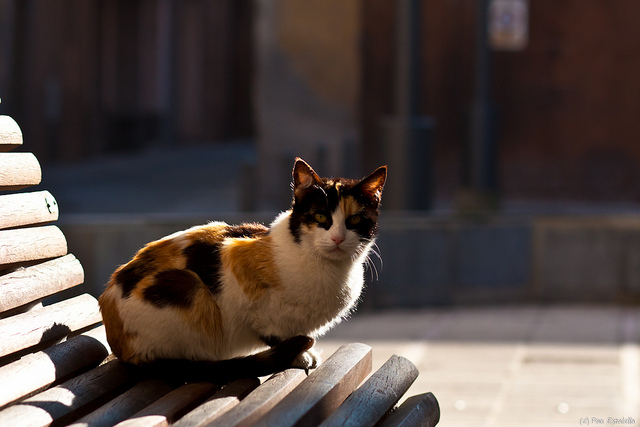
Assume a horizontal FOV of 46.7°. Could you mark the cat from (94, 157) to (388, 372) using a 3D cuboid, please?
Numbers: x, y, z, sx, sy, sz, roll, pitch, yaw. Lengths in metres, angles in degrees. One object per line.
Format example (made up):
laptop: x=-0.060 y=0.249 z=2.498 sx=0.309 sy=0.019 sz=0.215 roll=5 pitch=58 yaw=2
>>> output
cat: x=-0.359 y=0.315 z=3.745 sx=1.259 sy=1.043 sz=0.856 roll=-1 pitch=-13 yaw=-3
